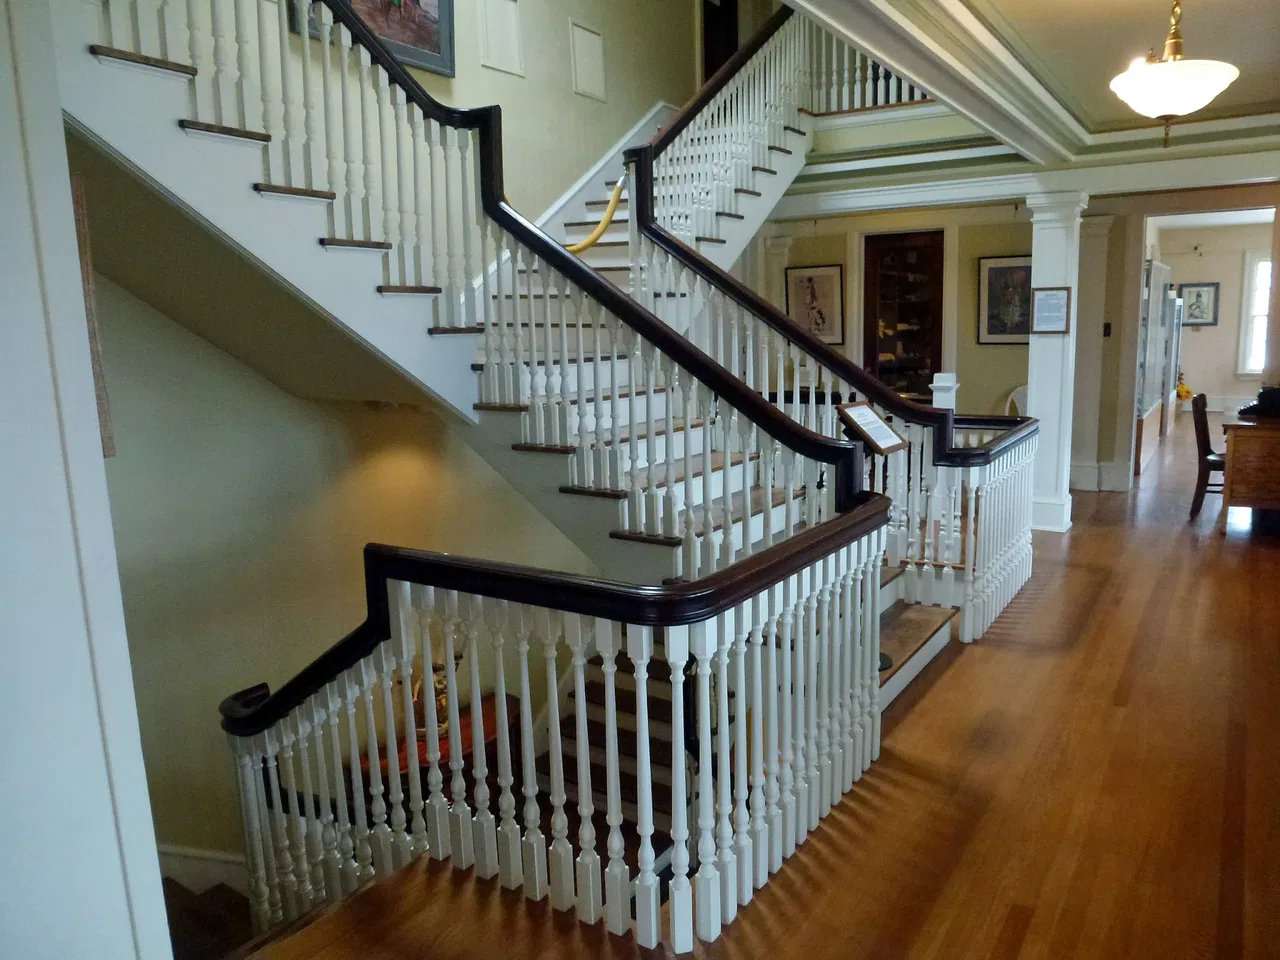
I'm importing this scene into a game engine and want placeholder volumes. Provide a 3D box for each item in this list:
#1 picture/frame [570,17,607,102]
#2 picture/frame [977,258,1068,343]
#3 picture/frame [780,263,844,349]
[{"bbox_3d":[-0.417,-3.241,8.175,0.035,0.502,0.598,4,16,20],"label":"picture/frame"},{"bbox_3d":[3.222,-1.526,8.897,0.872,1.027,0.065,2,7,28],"label":"picture/frame"},{"bbox_3d":[1.734,-1.758,10.649,0.588,0.934,0.041,3,45,16],"label":"picture/frame"}]
